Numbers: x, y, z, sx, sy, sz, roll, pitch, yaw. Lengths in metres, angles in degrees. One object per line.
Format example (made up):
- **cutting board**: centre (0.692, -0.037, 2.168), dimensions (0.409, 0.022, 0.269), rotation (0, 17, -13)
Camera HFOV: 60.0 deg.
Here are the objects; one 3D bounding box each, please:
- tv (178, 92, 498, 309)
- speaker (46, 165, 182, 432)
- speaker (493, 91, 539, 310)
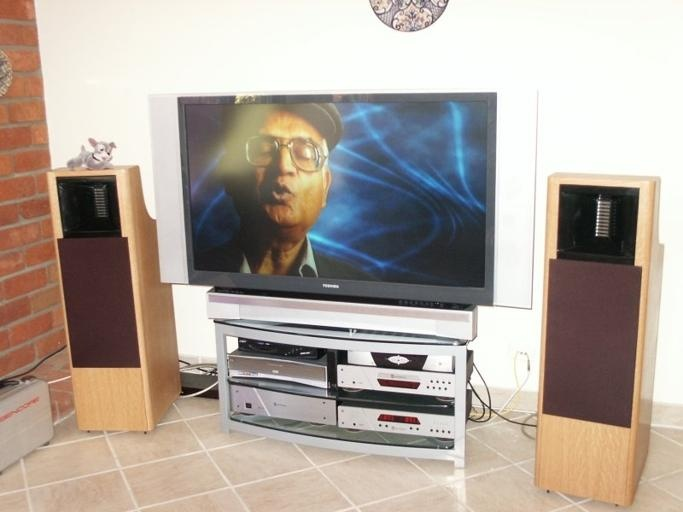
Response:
- **tv**: centre (0.034, -0.291, 2.810), dimensions (1.140, 0.663, 0.043), rotation (3, 14, 14)
- **speaker**: centre (-1.176, 0.248, 3.144), dimensions (0.582, 1.430, 0.330), rotation (-5, 14, -21)
- **speaker**: centre (0.778, -0.246, 2.638), dimensions (0.197, 0.980, 0.057), rotation (3, 13, 13)
